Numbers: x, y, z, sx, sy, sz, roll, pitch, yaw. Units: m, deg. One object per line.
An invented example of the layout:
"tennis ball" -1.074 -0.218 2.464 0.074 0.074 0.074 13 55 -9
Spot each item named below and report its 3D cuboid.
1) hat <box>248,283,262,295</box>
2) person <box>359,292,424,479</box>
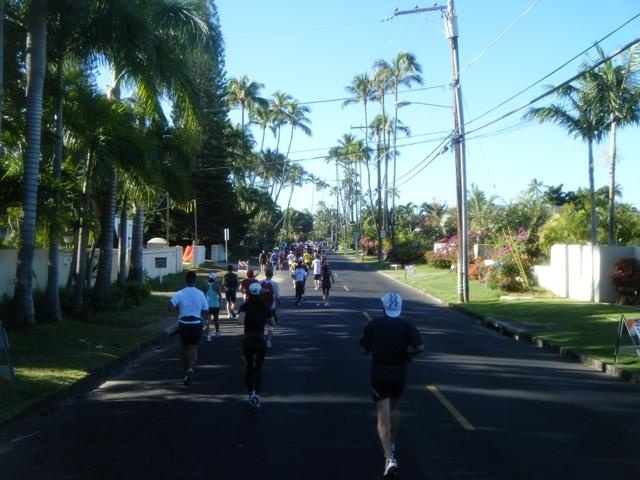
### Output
"hat" -1.260 0.928 12.588 0.151 0.194 0.224 0 -14 -3
"person" 1.096 2.140 9.965 0.714 2.614 0.842 -2 4 -28
